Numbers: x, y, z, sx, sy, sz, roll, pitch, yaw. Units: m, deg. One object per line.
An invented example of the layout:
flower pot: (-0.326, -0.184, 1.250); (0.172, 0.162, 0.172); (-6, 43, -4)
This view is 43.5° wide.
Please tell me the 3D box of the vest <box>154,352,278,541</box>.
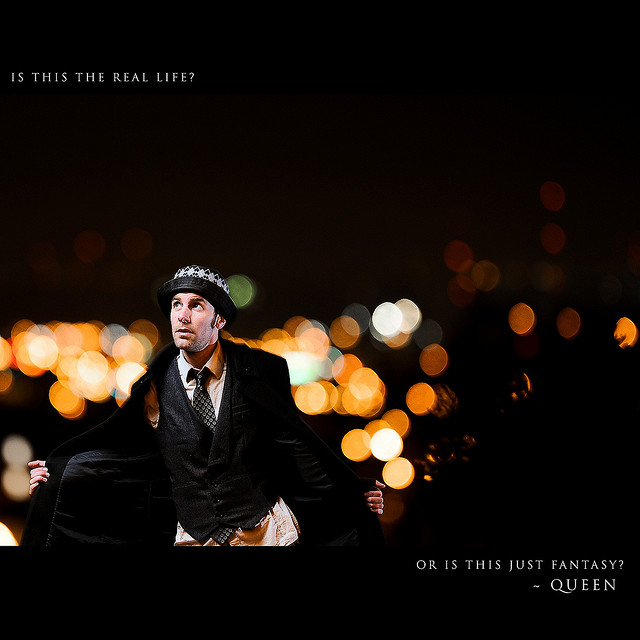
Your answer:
vest: (-0.360, 0.447, 2.685); (0.414, 0.692, 0.339); (-8, 8, -14)

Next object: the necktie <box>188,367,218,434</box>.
necktie: (-0.384, 0.269, 2.711); (0.104, 0.311, 0.015); (10, -50, -30)

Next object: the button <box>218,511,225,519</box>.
button: (-0.324, 0.646, 2.669); (0.022, 0.027, 0.006); (-3, 0, 0)
